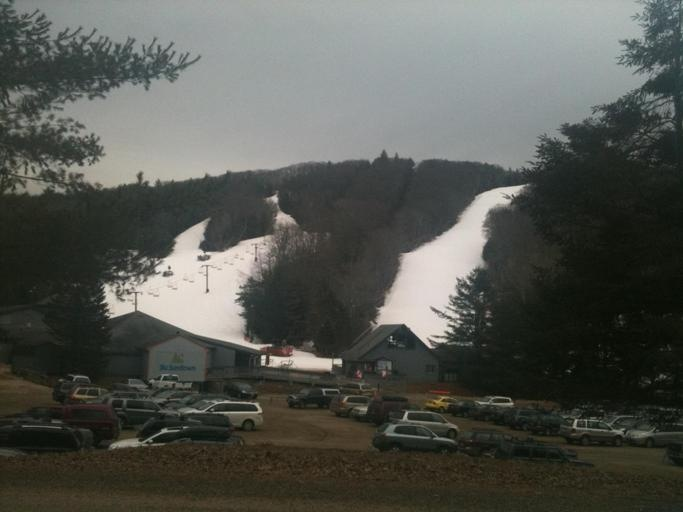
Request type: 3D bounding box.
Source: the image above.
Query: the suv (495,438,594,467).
[{"bbox_3d":[8.800,8.827,44.683,3.734,0.900,1.926,2,-11,6],"label":"suv"}]

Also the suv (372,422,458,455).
[{"bbox_3d":[3.267,8.483,45.946,3.620,1.305,3.655,4,-5,-30],"label":"suv"}]

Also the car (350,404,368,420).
[{"bbox_3d":[1.078,9.504,60.429,0.624,0.912,1.600,6,-11,-16],"label":"car"}]

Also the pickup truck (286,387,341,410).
[{"bbox_3d":[-2.002,9.640,67.561,3.469,1.262,1.524,7,-12,-28],"label":"pickup truck"}]

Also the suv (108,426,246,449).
[{"bbox_3d":[-7.022,7.888,43.150,5.397,1.183,2.417,4,-11,-7],"label":"suv"}]
